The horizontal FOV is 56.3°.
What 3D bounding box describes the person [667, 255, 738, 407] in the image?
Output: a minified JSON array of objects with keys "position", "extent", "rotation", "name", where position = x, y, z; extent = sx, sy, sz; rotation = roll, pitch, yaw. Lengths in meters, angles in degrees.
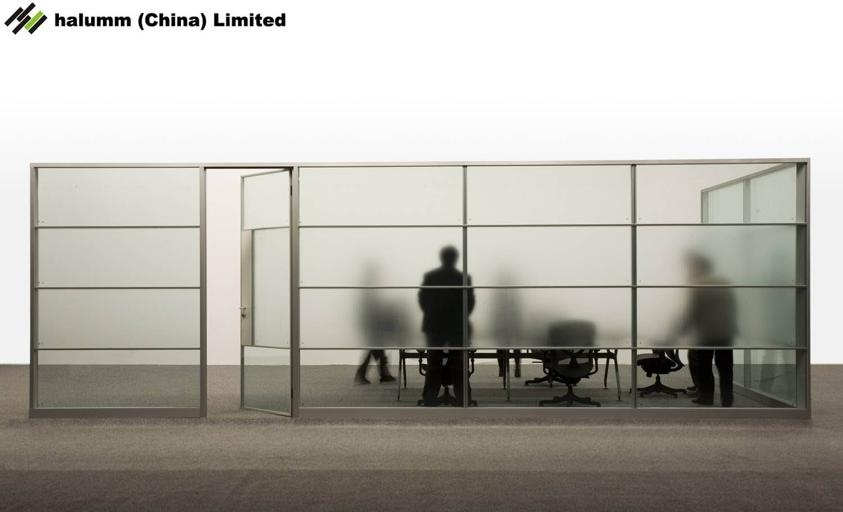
[{"position":[4.896,1.240,13.472],"extent":[0.994,2.567,0.246],"rotation":[1,-3,-10],"name":"person"}]
